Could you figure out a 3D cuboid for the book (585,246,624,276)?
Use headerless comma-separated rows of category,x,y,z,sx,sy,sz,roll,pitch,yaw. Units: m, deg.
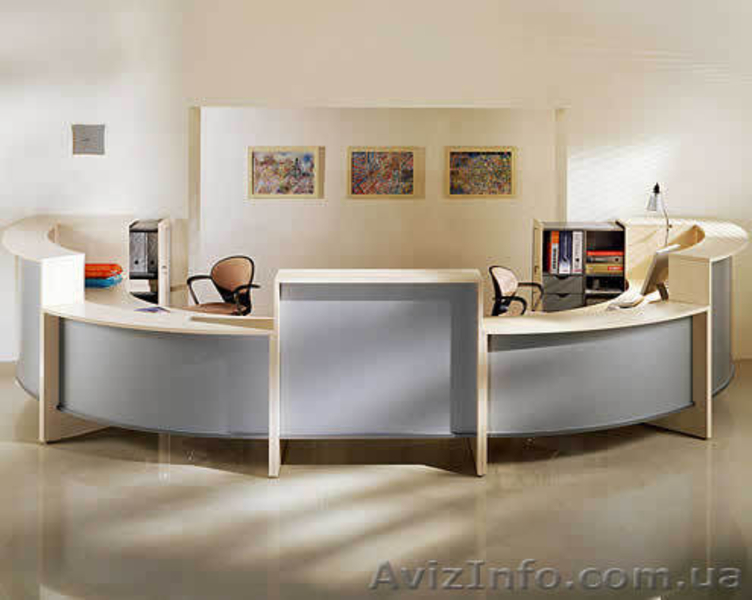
book,2.229,-0.379,6.573,0.272,0.176,0.275,0,5,3

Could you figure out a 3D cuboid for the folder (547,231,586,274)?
folder,1.839,-0.498,6.840,0.350,0.494,0.492,0,8,1

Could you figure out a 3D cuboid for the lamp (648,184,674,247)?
lamp,2.641,-0.821,6.368,0.208,0.499,0.669,5,14,21

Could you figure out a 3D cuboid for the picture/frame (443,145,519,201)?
picture/frame,1.121,-1.367,7.427,0.758,0.596,0.016,1,-11,5

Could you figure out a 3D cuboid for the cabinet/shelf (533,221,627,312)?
cabinet/shelf,2.037,-0.268,6.910,0.886,0.883,0.529,1,6,8

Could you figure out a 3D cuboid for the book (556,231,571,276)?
book,1.846,-0.461,6.704,0.077,0.320,0.329,0,-1,7

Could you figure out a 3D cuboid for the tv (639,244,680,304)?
tv,2.100,-0.178,5.061,0.192,0.400,0.392,16,25,42
